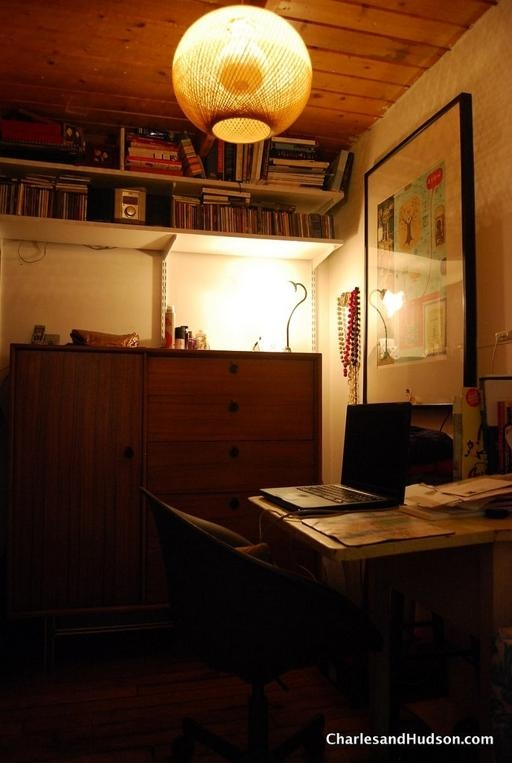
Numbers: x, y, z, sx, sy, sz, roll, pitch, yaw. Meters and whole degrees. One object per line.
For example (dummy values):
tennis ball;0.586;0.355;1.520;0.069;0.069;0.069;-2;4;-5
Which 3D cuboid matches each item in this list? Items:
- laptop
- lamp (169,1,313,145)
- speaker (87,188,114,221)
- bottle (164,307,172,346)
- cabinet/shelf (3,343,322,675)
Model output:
laptop;0.254;0.225;1.760;0.282;0.346;0.391;8;-1;-22
lamp;-0.036;-0.886;1.772;0.395;0.255;0.271;0;-3;-11
speaker;-0.731;-0.843;2.886;0.117;0.205;0.137;0;-3;-16
bottle;-0.427;-0.266;3.004;0.040;0.194;0.056;0;-4;-6
cabinet/shelf;-0.411;0.465;2.206;1.088;1.159;0.428;1;-9;-14
